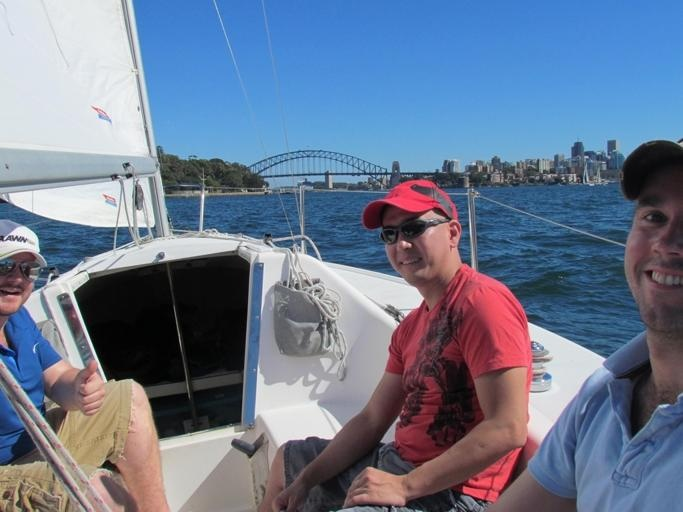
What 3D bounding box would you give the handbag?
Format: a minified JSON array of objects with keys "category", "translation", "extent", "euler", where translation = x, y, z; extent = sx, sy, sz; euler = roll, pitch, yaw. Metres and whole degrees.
[{"category":"handbag","translation":[-0.216,0.297,2.370],"extent":[0.187,0.339,0.246],"euler":[-15,25,-27]}]
